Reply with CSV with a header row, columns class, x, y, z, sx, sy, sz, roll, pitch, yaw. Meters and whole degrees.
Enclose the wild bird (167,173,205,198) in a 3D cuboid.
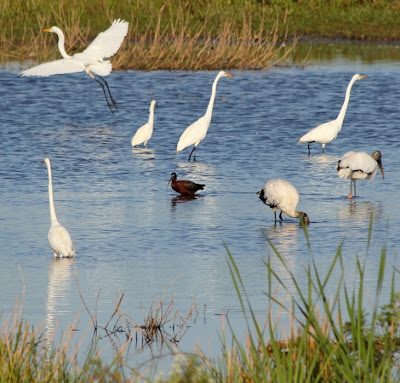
class,x,y,z,sx,sy,sz,roll,pitch,yaw
wild bird,-0.297,-0.110,17.308,0.885,0.705,0.388,-9,0,-20
